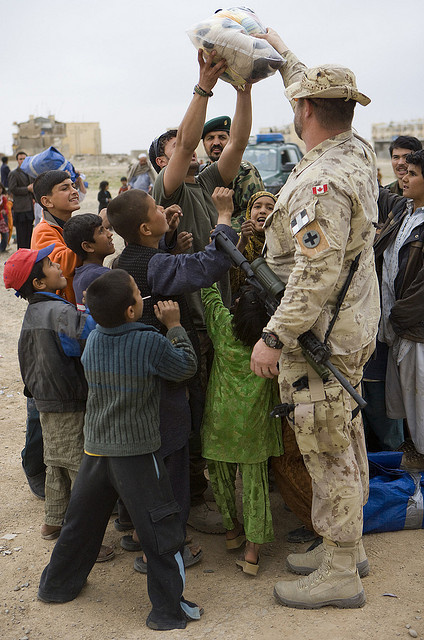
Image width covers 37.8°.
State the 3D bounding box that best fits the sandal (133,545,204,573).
[{"bbox_3d":[-0.178,1.101,2.870,0.377,0.097,0.122,-2,5,-29],"label":"sandal"}]

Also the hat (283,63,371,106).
[{"bbox_3d":[0.450,-0.932,2.420,0.384,0.143,0.331,-10,32,-13],"label":"hat"}]

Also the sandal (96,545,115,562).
[{"bbox_3d":[-0.505,1.098,2.927,0.076,0.057,0.119,0,4,-2],"label":"sandal"}]

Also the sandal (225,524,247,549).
[{"bbox_3d":[0.115,1.062,3.029,0.088,0.109,0.118,0,5,0],"label":"sandal"}]

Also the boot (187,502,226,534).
[{"bbox_3d":[-0.033,1.074,3.322,0.256,0.101,0.107,8,16,23],"label":"boot"}]

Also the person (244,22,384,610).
[{"bbox_3d":[0.460,-0.064,2.516,0.612,2.475,0.907,0,5,3],"label":"person"}]

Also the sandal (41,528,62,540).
[{"bbox_3d":[-0.808,1.070,3.081,0.120,0.049,0.031,2,5,19],"label":"sandal"}]

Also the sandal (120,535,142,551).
[{"bbox_3d":[-0.398,1.094,3.017,0.084,0.069,0.106,-3,5,-31],"label":"sandal"}]

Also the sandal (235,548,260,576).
[{"bbox_3d":[0.161,1.106,2.823,0.060,0.064,0.155,11,-1,-5],"label":"sandal"}]

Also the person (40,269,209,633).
[{"bbox_3d":[-0.313,0.489,2.488,0.650,1.369,0.390,2,6,21],"label":"person"}]

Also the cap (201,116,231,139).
[{"bbox_3d":[0.024,-1.271,4.062,0.179,0.102,0.260,0,4,-1],"label":"cap"}]
